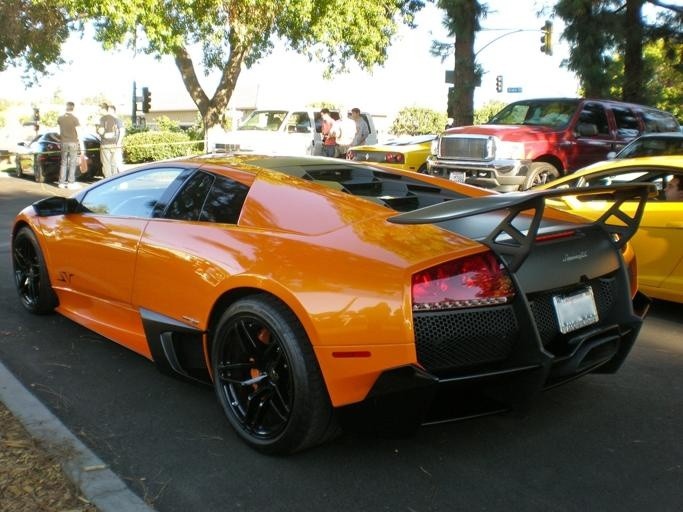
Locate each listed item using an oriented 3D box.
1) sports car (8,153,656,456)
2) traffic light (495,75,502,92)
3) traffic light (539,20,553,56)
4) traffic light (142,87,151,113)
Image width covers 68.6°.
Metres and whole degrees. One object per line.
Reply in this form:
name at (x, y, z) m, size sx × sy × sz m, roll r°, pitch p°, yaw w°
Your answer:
sports car at (-0.625, 0.001, 3.475) m, size 3.853 × 0.923 × 2.129 m, roll 15°, pitch 17°, yaw 42°
traffic light at (10.355, -11.231, 32.815) m, size 0.283 × 0.970 × 0.249 m, roll -3°, pitch 16°, yaw -13°
traffic light at (9.626, -10.179, 23.428) m, size 0.537 × 1.548 × 1.045 m, roll 5°, pitch 15°, yaw 17°
traffic light at (-9.490, -7.558, 24.285) m, size 0.417 × 1.149 × 1.052 m, roll -5°, pitch 15°, yaw -21°
